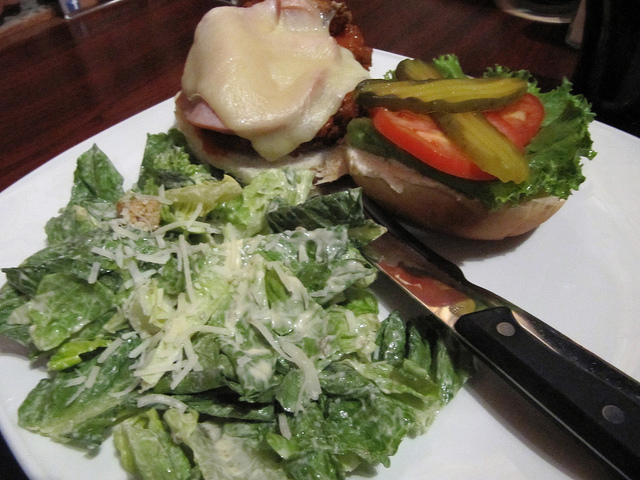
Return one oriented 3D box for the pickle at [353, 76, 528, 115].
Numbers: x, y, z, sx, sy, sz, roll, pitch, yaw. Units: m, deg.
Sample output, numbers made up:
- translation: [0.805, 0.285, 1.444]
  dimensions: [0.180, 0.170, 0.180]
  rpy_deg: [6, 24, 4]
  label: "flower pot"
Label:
- translation: [0.450, -0.517, 1.907]
  dimensions: [0.655, 0.131, 0.128]
  rpy_deg: [-3, 54, 10]
  label: "pickle"
